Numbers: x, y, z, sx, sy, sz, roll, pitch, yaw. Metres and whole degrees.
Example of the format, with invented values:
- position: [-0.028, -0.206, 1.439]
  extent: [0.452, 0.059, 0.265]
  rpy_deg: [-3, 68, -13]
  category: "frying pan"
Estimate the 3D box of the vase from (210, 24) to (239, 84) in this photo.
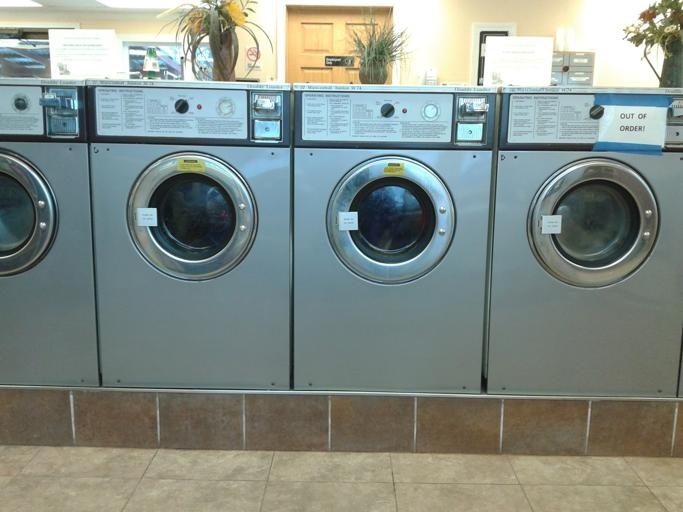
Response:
- position: [-0.523, -0.894, 2.698]
  extent: [0.122, 0.229, 0.189]
  rpy_deg: [-3, 14, -11]
  category: "vase"

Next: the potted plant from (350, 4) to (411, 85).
- position: [0.171, -0.902, 2.726]
  extent: [0.225, 0.290, 0.249]
  rpy_deg: [3, 29, 6]
  category: "potted plant"
